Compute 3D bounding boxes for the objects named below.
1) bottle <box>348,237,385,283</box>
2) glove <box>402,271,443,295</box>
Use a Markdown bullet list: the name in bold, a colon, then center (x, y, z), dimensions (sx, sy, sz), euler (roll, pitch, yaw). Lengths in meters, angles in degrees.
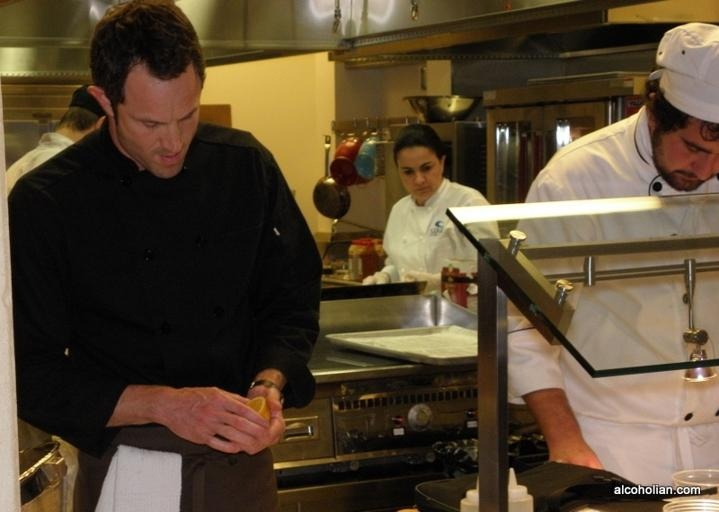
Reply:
- **bottle**: center (0.043, 0.030, 4.053), dimensions (0.134, 0.230, 0.256), euler (5, 7, 42)
- **glove**: center (0.311, 0.120, 3.423), dimensions (0.142, 0.048, 0.104), euler (11, 33, 23)
